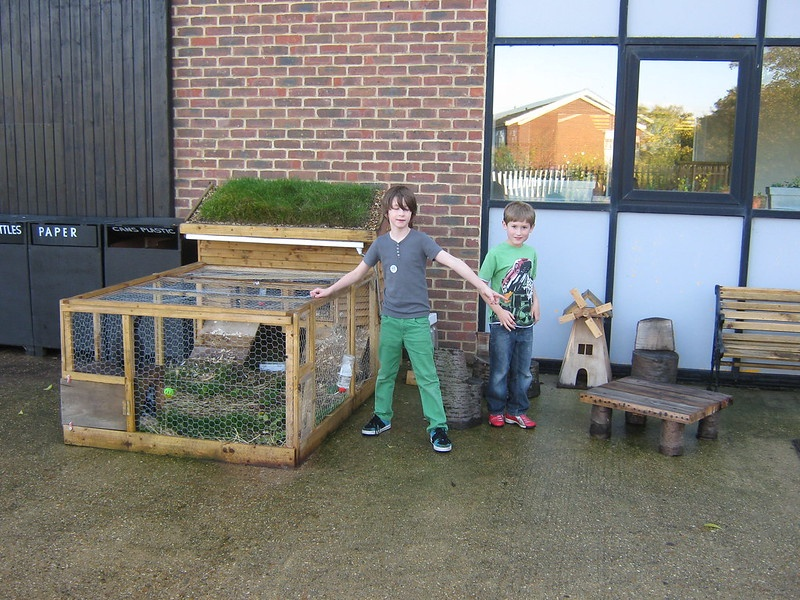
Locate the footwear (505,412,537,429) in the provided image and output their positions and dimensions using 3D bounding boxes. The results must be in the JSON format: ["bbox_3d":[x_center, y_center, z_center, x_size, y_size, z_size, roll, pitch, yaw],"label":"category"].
[{"bbox_3d":[0.978,0.960,5.667,0.240,0.101,0.100,6,9,20],"label":"footwear"}]

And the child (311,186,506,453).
[{"bbox_3d":[0.018,0.117,5.221,1.596,1.879,0.419,2,6,26],"label":"child"}]

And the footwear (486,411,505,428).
[{"bbox_3d":[0.776,0.959,5.638,0.130,0.102,0.254,-1,-3,-3],"label":"footwear"}]

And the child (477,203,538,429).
[{"bbox_3d":[0.927,0.125,5.567,0.650,1.807,0.476,-5,8,-38],"label":"child"}]

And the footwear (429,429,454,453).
[{"bbox_3d":[0.299,1.031,5.197,0.175,0.164,0.146,2,8,13],"label":"footwear"}]

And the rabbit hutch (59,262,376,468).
[{"bbox_3d":[-1.359,0.451,5.571,1.945,1.234,1.523,2,7,14],"label":"rabbit hutch"}]

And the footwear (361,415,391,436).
[{"bbox_3d":[-0.188,0.983,5.485,0.106,0.120,0.265,-1,-6,28],"label":"footwear"}]
